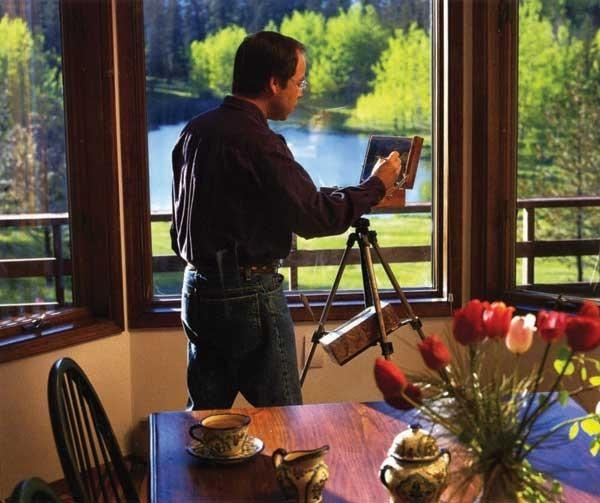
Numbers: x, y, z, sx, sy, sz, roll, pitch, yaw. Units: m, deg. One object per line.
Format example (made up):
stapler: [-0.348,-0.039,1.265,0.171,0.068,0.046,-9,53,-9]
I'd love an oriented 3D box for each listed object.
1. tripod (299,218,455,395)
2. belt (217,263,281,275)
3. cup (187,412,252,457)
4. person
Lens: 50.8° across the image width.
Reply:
tripod: [0.205,0.238,2.408,0.421,0.739,0.490,0,-8,3]
belt: [-0.161,0.060,2.069,0.208,0.045,0.047,-6,12,-20]
cup: [-0.187,0.421,1.499,0.114,0.062,0.084,2,-3,-42]
person: [-0.101,-0.084,2.161,0.682,1.279,0.371,-2,10,-9]
